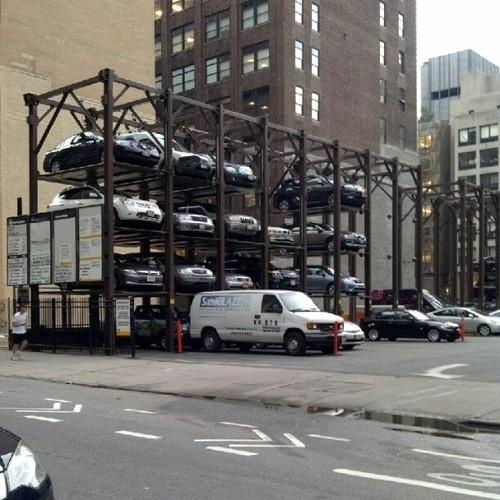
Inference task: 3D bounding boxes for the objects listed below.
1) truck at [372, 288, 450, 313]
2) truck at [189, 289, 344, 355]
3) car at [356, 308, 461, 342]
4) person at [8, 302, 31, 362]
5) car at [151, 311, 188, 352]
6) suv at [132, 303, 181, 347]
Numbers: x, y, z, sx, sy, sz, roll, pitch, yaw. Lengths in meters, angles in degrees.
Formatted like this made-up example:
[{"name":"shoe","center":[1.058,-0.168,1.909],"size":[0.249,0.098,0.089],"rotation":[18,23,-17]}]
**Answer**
[{"name":"truck","center":[8.282,2.630,45.836],"size":[2.641,1.477,1.687],"rotation":[-5,-3,15]},{"name":"truck","center":[0.568,2.149,25.837],"size":[3.535,1.561,2.016],"rotation":[-7,-10,36]},{"name":"car","center":[6.109,2.925,32.984],"size":[3.041,1.112,1.460],"rotation":[-6,-7,34]},{"name":"person","center":[-6.628,2.320,24.825],"size":[0.459,1.628,3.362],"rotation":[0,-1,-15]},{"name":"car","center":[-2.515,2.604,27.839],"size":[1.154,1.227,1.545],"rotation":[0,-1,-10]},{"name":"suv","center":[-3.142,2.456,28.645],"size":[1.753,0.993,0.969],"rotation":[-10,-12,41]}]
